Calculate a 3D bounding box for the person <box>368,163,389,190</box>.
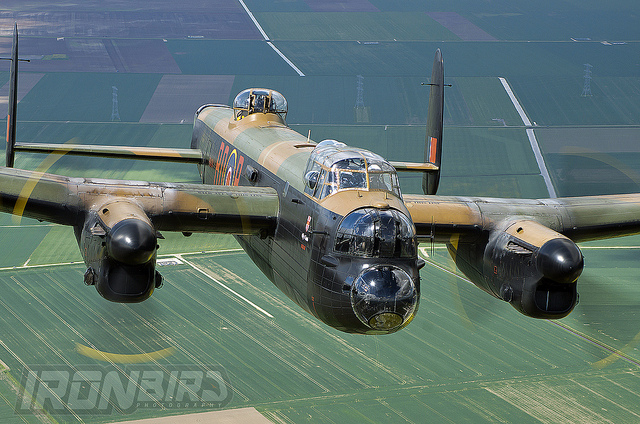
[{"bbox_3d":[2.893,-1.835,32.924,0.893,1.298,0.345,-1,-16,-25],"label":"person"}]
